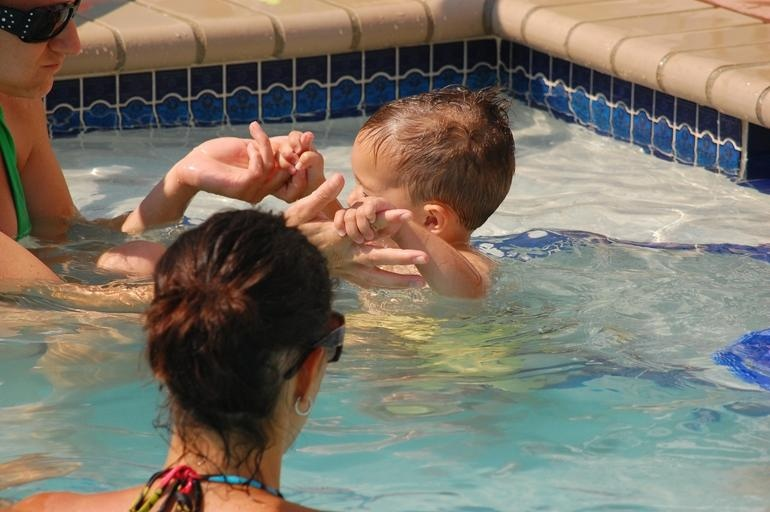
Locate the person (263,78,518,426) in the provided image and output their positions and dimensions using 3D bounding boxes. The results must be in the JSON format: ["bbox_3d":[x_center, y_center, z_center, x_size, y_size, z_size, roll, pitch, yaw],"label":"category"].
[{"bbox_3d":[0.189,-0.157,2.896,1.174,1.052,0.676,-5,44,-1],"label":"person"}]
